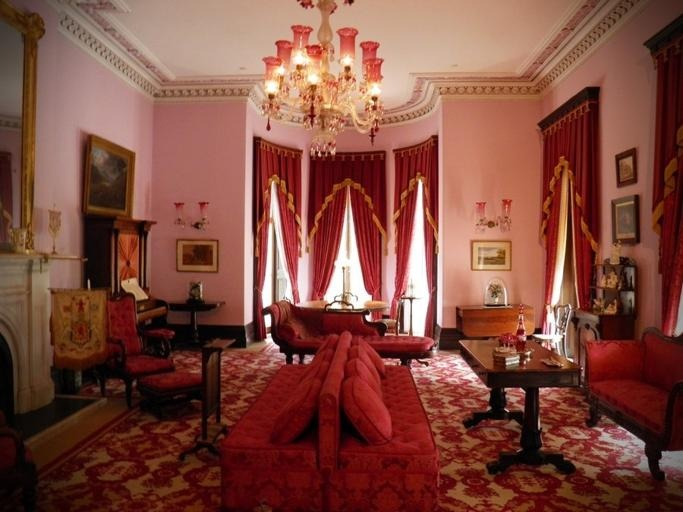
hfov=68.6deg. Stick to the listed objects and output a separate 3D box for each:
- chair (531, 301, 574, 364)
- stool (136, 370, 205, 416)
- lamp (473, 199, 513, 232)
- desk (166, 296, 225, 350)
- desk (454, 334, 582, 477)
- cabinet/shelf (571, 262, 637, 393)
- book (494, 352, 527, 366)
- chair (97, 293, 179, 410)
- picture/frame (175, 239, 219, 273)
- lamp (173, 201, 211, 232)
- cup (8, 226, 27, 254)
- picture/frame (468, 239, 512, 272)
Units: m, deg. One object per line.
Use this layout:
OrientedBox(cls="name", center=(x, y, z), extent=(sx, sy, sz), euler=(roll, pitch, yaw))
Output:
OrientedBox(cls="chair", center=(3.540, 1.318, 8.503), extent=(0.517, 0.945, 0.508), euler=(1, 1, 3))
OrientedBox(cls="stool", center=(-2.280, 1.809, 6.680), extent=(0.664, 0.360, 0.457), euler=(0, -5, -36))
OrientedBox(cls="lamp", center=(3.048, -0.793, 10.007), extent=(0.599, 0.578, 0.251), euler=(1, -1, 5))
OrientedBox(cls="desk", center=(-2.944, 1.322, 10.081), extent=(0.915, 0.929, 0.961), euler=(1, 3, -3))
OrientedBox(cls="desk", center=(2.092, 1.744, 5.981), extent=(1.115, 1.214, 1.292), euler=(-1, -2, 1))
OrientedBox(cls="cabinet/shelf", center=(3.915, 1.043, 7.557), extent=(0.521, 1.989, 1.181), euler=(3, 0, 7))
OrientedBox(cls="book", center=(1.929, 1.199, 5.748), extent=(0.214, 0.080, 0.178), euler=(0, 1, -6))
OrientedBox(cls="chair", center=(-3.083, 1.305, 7.364), extent=(0.920, 1.420, 0.830), euler=(2, 0, 28))
OrientedBox(cls="picture/frame", center=(-2.938, -0.012, 10.222), extent=(0.630, 0.555, 0.029), euler=(0, -2, -3))
OrientedBox(cls="lamp", center=(-3.061, -0.836, 10.390), extent=(0.928, 0.750, 0.506), euler=(0, 8, 3))
OrientedBox(cls="cup", center=(-4.167, -0.190, 6.405), extent=(0.171, 0.320, 0.125), euler=(1, -3, -42))
OrientedBox(cls="picture/frame", center=(3.010, -0.008, 10.028), extent=(0.582, 0.492, 0.047), euler=(1, -3, 0))
